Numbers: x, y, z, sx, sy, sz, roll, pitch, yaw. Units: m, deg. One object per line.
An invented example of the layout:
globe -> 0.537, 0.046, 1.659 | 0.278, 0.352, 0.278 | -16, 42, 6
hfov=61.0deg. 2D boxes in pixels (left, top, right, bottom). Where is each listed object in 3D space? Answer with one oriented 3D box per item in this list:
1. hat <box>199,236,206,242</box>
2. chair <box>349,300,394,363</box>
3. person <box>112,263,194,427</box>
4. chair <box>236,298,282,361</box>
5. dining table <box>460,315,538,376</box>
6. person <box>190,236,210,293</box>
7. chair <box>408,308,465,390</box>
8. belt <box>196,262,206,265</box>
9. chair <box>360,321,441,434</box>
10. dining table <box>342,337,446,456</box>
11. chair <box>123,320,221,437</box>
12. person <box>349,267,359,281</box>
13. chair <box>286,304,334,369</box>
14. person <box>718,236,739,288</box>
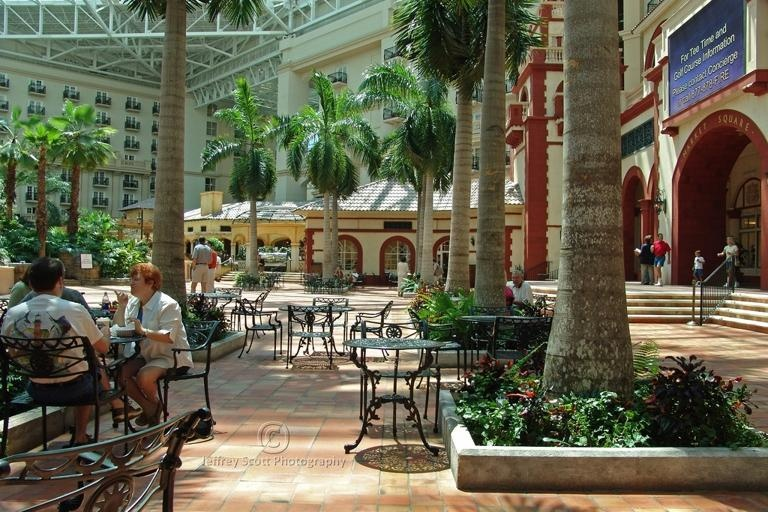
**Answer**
hat -> -5.177, -0.488, 18.594 | 0.231, 0.186, 0.260 | 2, -6, -23
chair -> -0.279, 1.312, 12.574 | 0.773, 1.028, 0.674 | 2, -1, 7
person -> -2.926, 1.108, 8.216 | 1.092, 1.973, 1.070 | 3, -4, -15
chair -> -2.547, 1.466, 13.514 | 0.872, 1.127, 0.793 | 1, 0, -10
dining table -> 1.887, 1.427, 10.756 | 1.124, 1.278, 1.216 | 1, 4, 8
person -> -5.194, 0.208, 18.472 | 0.535, 1.531, 1.301 | 0, -1, -17
chair -> 1.049, 1.545, 11.438 | 1.357, 1.222, 1.353 | 2, -1, -6
belt -> -5.127, 0.175, 18.284 | 0.264, 0.066, 0.051 | -1, -1, -16
chair -> 0.123, 1.584, 8.335 | 1.289, 1.394, 1.307 | 0, -7, 0
dining table -> 0.104, 1.720, 8.199 | 1.404, 1.230, 1.305 | 0, -8, -9
chair -> -2.531, 1.572, 8.540 | 0.893, 1.146, 0.825 | -1, -6, -28
person -> -1.603, 1.040, 35.418 | 0.541, 0.729, 0.703 | 1, -6, -4
chair -> -1.379, 1.418, 12.239 | 0.815, 1.299, 0.910 | 3, -15, -5
person -> 10.786, 0.138, 20.337 | 0.476, 1.569, 4.166 | -2, -1, 27
